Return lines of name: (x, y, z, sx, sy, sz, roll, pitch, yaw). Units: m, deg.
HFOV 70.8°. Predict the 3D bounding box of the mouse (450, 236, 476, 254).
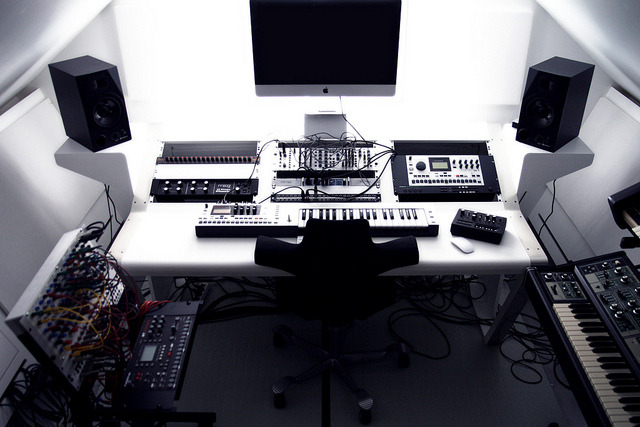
mouse: (0.859, 0.192, 2.717, 0.140, 0.040, 0.110, 8, 43, 13)
